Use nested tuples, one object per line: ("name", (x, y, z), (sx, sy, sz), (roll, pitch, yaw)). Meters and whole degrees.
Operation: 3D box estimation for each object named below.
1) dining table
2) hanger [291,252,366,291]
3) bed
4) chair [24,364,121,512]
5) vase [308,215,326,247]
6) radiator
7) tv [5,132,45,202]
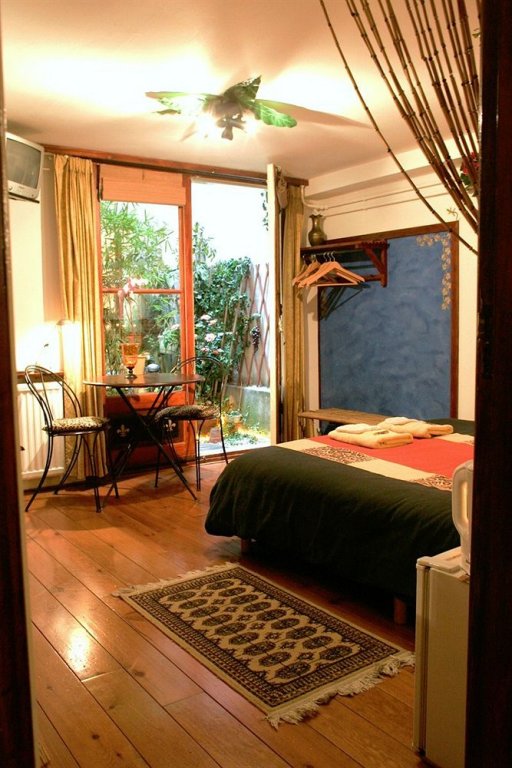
("dining table", (-0.835, 0.327, 4.754), (0.877, 0.822, 0.763), (1, 5, -19))
("hanger", (0.637, -0.937, 5.328), (0.518, 0.197, 0.335), (-2, -2, 14))
("bed", (0.241, 0.560, 3.127), (1.356, 0.331, 1.369), (13, 1, -20))
("chair", (-1.379, 0.357, 4.396), (0.547, 0.946, 0.570), (8, 13, 43))
("vase", (0.572, -1.410, 5.597), (0.169, 0.291, 0.250), (-1, 5, 1))
("radiator", (-1.633, 0.357, 4.482), (0.178, 0.744, 0.414), (1, 6, 28))
("tv", (-1.465, -1.415, 3.843), (0.204, 0.483, 0.666), (-3, 5, -20))
